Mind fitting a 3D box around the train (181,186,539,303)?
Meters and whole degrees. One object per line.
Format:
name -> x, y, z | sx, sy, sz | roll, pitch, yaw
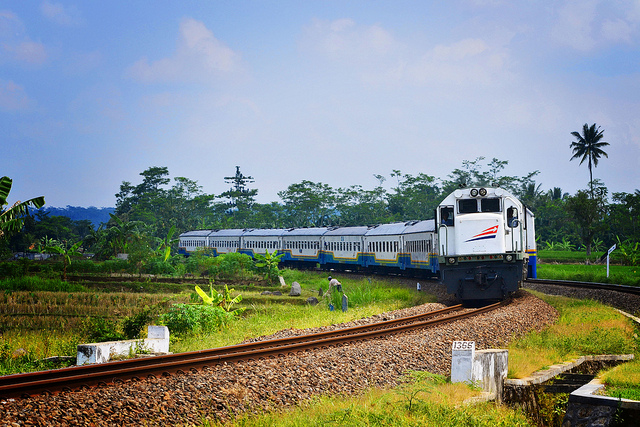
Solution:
train -> -1.038, 2.007, 42.272 | 30.904, 4.695, 3.922 | -4, -3, 39
